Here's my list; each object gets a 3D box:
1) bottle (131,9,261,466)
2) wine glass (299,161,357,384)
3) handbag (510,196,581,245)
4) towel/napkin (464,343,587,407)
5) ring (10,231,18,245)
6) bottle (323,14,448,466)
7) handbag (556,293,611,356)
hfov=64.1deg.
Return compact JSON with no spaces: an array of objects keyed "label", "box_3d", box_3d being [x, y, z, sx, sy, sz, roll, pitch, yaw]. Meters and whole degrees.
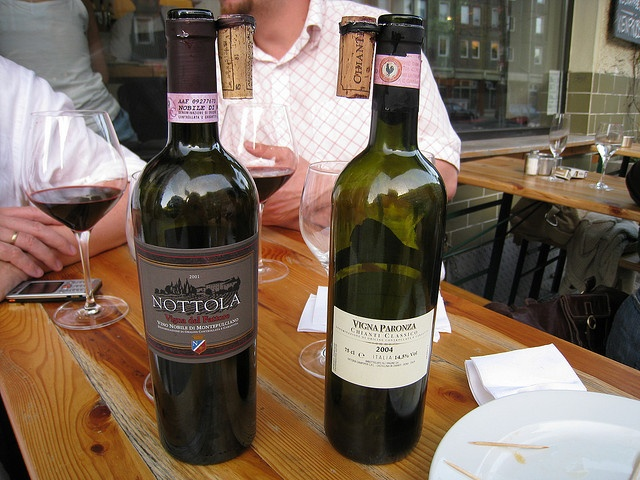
[{"label":"bottle","box_3d":[-0.134,0.067,0.606,0.140,0.399,0.095,-7,18,-20]},{"label":"wine glass","box_3d":[0.021,0.027,0.823,0.103,0.271,0.109,-4,4,-29]},{"label":"handbag","box_3d":[1.130,-0.118,2.617,0.241,0.115,0.300,6,2,-29]},{"label":"towel/napkin","box_3d":[0.284,0.188,0.732,0.086,0.033,0.089,-3,28,-10]},{"label":"ring","box_3d":[-0.579,-0.004,0.979,0.015,0.018,0.007,5,-15,19]},{"label":"bottle","box_3d":[0.072,0.015,0.594,0.134,0.513,0.102,4,18,13]},{"label":"handbag","box_3d":[0.755,0.252,1.494,0.168,0.173,0.077,2,-7,-23]}]
